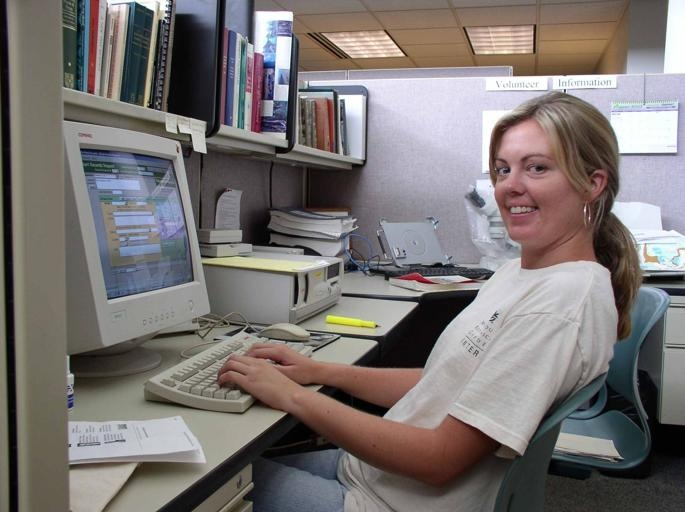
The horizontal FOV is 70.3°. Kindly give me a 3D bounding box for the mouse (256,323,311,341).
[{"bbox_3d":[-0.138,0.172,1.165,0.091,0.027,0.051,3,0,17],"label":"mouse"}]

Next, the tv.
[{"bbox_3d":[-0.425,-0.051,1.004,0.095,0.432,0.364,-2,11,17],"label":"tv"}]
